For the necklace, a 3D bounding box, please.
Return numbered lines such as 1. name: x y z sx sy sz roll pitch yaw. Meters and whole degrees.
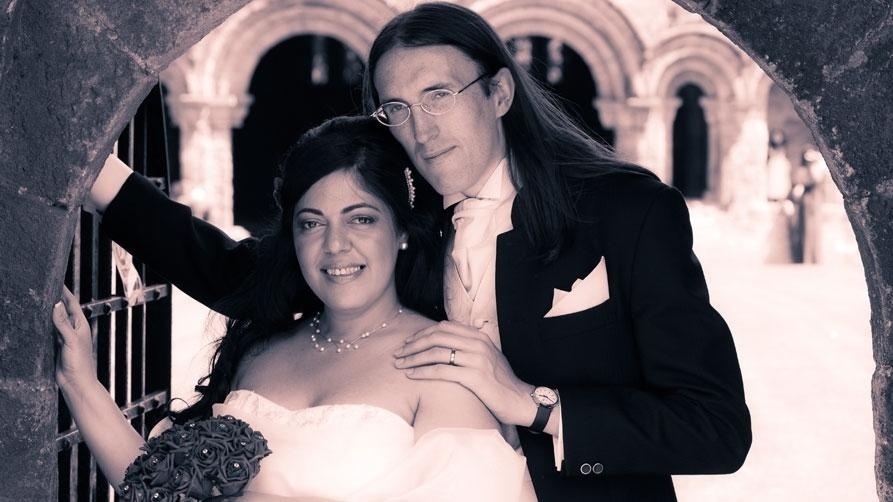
1. necklace: -0.868 0.748 12.304 0.577 0.456 0.099 -18 -24 15
